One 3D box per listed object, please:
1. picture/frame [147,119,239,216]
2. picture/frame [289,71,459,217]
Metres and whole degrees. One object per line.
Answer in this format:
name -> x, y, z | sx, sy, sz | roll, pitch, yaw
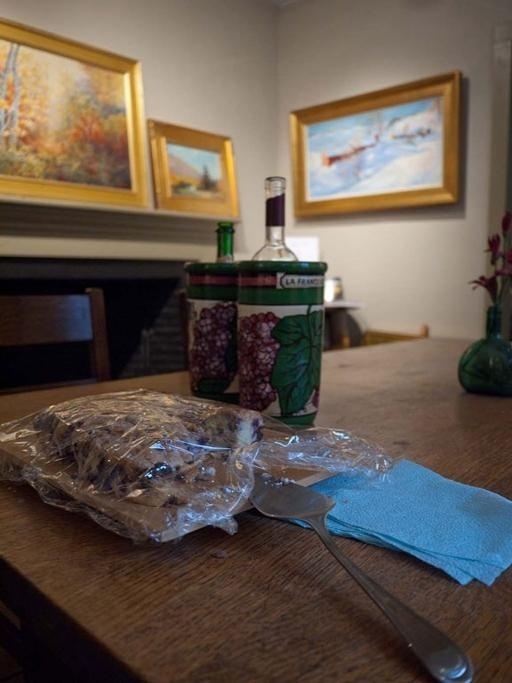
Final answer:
picture/frame -> -0.321, -0.923, 2.886 | 0.041, 0.451, 0.648 | 0, 8, 39
picture/frame -> 0.663, -1.060, 2.817 | 1.021, 0.586, 0.068 | 1, 3, 42
